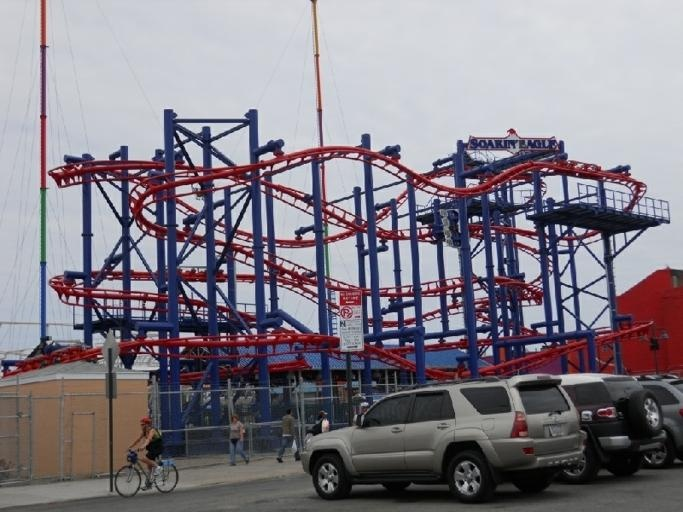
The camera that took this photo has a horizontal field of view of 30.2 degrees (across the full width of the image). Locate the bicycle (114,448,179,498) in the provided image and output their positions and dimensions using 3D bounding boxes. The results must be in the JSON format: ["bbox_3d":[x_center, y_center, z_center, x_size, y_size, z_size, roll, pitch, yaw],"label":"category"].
[{"bbox_3d":[-5.713,6.474,36.569,2.167,1.174,1.010,7,-16,-28],"label":"bicycle"}]

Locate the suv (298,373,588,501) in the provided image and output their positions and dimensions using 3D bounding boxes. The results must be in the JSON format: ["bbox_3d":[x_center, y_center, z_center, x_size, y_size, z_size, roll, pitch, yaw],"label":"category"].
[{"bbox_3d":[2.798,4.741,33.183,6.496,2.482,3.281,-3,-8,28],"label":"suv"}]

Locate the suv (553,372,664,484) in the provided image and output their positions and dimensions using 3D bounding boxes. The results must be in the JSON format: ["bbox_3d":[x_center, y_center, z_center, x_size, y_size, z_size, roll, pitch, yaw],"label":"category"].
[{"bbox_3d":[7.397,4.508,33.900,3.819,1.778,2.086,-1,-5,36],"label":"suv"}]
